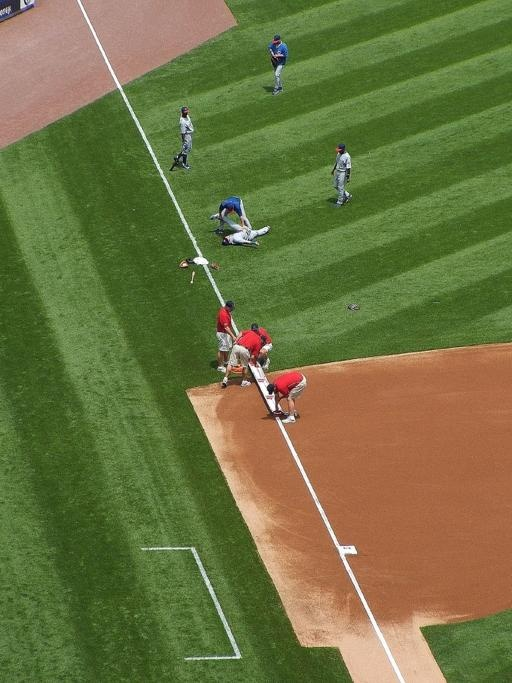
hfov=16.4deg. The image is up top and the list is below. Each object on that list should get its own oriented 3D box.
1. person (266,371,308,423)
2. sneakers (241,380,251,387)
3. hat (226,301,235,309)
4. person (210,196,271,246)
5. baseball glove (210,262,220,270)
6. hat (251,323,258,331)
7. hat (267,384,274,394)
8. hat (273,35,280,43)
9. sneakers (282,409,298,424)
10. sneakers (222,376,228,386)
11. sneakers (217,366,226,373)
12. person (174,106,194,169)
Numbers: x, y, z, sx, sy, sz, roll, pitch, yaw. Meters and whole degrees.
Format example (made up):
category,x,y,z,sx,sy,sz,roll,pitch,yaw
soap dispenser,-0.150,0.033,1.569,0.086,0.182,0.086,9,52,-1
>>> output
category,x,y,z,sx,sy,sz,roll,pitch,yaw
person,0.690,1.086,35.675,0.719,0.972,0.530,-9,14,-7
sneakers,-0.235,0.839,36.551,0.223,0.153,0.077,-19,40,-27
hat,-0.554,-0.774,36.416,0.156,0.180,0.133,-10,2,18
person,-0.281,-2.862,40.511,1.181,0.535,1.132,37,52,20
baseball glove,-0.954,-1.716,39.804,0.191,0.093,0.256,-11,48,8
hat,-0.052,-0.340,36.243,0.104,0.143,0.143,15,46,26
hat,0.279,0.929,35.611,0.163,0.240,0.161,5,78,4
hat,0.494,-7.590,44.295,0.148,0.182,0.195,1,82,-4
sneakers,0.656,1.506,35.768,0.310,0.240,0.156,3,16,11
sneakers,-0.654,0.788,36.521,0.069,0.199,0.087,13,48,12
sneakers,-0.738,0.558,37.063,0.166,0.080,0.096,12,32,20
person,-1.778,-4.887,42.868,0.490,1.531,0.735,1,59,-2
